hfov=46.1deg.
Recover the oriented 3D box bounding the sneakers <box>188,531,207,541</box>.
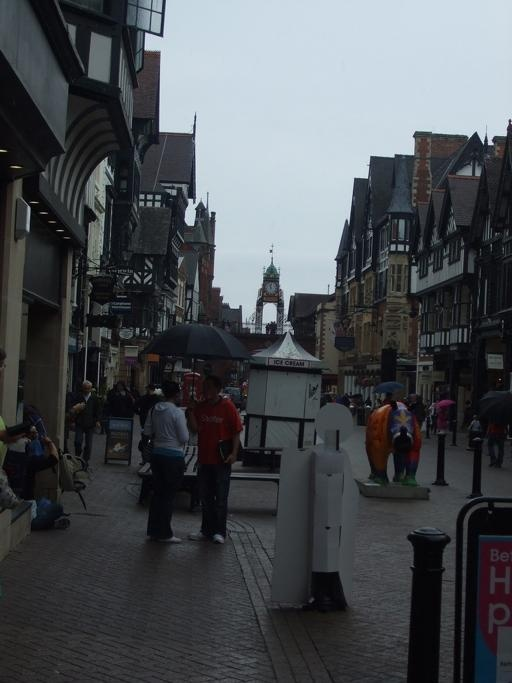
[{"bbox_3d":[-0.706,2.322,7.207,0.227,0.143,0.095,11,-10,4],"label":"sneakers"}]

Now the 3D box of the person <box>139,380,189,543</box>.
[{"bbox_3d":[-1.138,1.466,7.470,0.514,1.932,1.135,2,-5,-11],"label":"person"}]

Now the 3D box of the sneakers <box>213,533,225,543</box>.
[{"bbox_3d":[-0.431,2.316,7.054,0.148,0.097,0.158,3,-5,-16],"label":"sneakers"}]

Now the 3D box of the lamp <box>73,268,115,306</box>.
[{"bbox_3d":[-6.929,-2.284,26.178,1.919,2.094,0.833,0,3,27],"label":"lamp"}]

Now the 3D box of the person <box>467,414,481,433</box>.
[{"bbox_3d":[7.460,2.856,20.557,0.264,0.592,0.967,0,-5,16],"label":"person"}]

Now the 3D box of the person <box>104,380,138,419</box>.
[{"bbox_3d":[-3.864,1.653,17.309,0.752,0.967,1.112,2,-5,-13],"label":"person"}]

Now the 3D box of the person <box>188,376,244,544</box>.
[{"bbox_3d":[-0.498,1.396,7.138,0.613,1.926,0.298,0,-4,5],"label":"person"}]

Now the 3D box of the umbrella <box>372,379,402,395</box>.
[{"bbox_3d":[2.746,0.965,12.595,0.510,0.267,1.274,0,-6,12],"label":"umbrella"}]

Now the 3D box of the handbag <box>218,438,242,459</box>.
[{"bbox_3d":[-0.310,1.282,7.093,0.301,0.246,0.122,5,-6,-37],"label":"handbag"}]

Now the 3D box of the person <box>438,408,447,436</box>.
[{"bbox_3d":[8.959,3.779,29.041,0.388,1.101,1.007,-1,-5,17],"label":"person"}]
